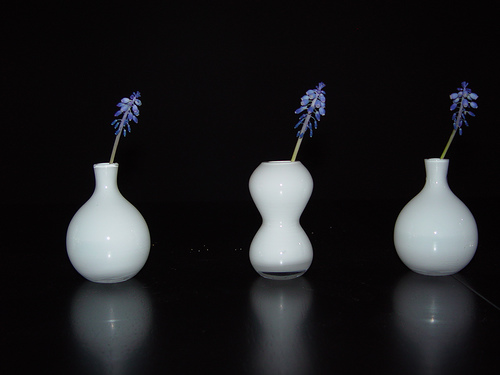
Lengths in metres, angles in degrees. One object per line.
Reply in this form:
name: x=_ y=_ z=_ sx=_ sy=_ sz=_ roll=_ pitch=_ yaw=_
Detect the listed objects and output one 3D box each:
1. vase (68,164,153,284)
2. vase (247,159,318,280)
vase: x=-0.369 y=0.095 z=1.214 sx=0.171 sy=0.291 sz=0.139 roll=9 pitch=16 yaw=25
vase: x=0.073 y=0.095 z=1.267 sx=0.148 sy=0.336 sz=0.177 roll=-8 pitch=18 yaw=-34
